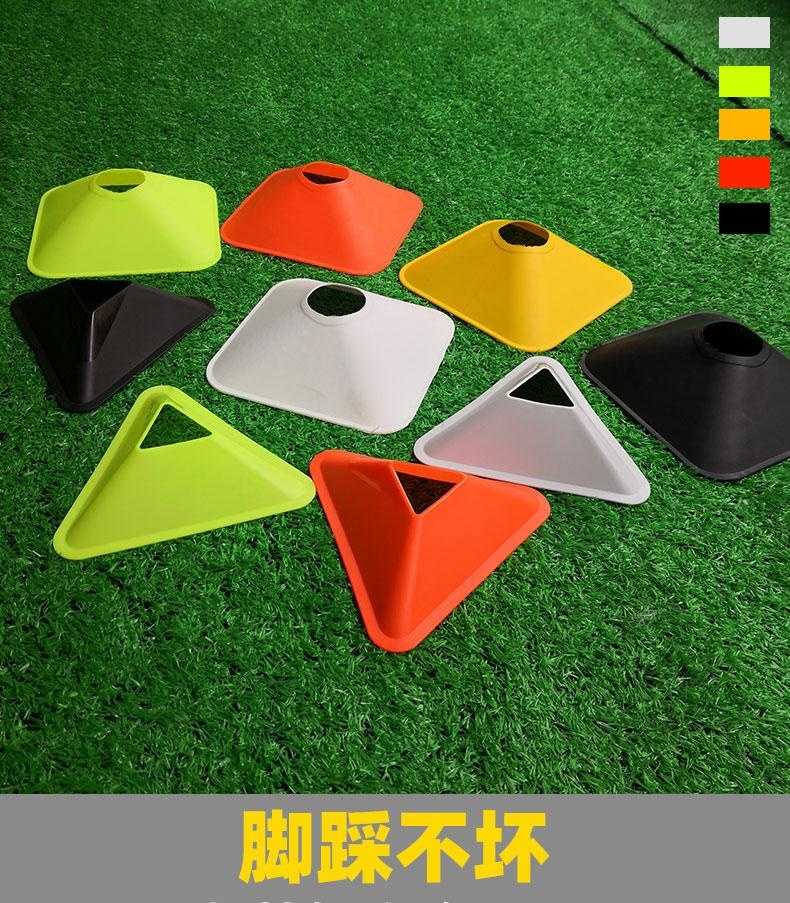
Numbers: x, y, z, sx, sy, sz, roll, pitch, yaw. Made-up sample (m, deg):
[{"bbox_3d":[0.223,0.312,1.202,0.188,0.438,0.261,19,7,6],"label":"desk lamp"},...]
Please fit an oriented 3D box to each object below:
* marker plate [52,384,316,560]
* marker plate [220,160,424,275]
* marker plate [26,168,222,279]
[{"bbox_3d":[-0.437,0.016,1.490,0.471,0.140,0.363,-13,35,-17],"label":"marker plate"},{"bbox_3d":[-0.182,-0.567,1.950,0.454,0.112,0.376,19,51,14],"label":"marker plate"},{"bbox_3d":[-0.684,-0.636,1.979,0.511,0.125,0.433,-7,54,-3],"label":"marker plate"}]
